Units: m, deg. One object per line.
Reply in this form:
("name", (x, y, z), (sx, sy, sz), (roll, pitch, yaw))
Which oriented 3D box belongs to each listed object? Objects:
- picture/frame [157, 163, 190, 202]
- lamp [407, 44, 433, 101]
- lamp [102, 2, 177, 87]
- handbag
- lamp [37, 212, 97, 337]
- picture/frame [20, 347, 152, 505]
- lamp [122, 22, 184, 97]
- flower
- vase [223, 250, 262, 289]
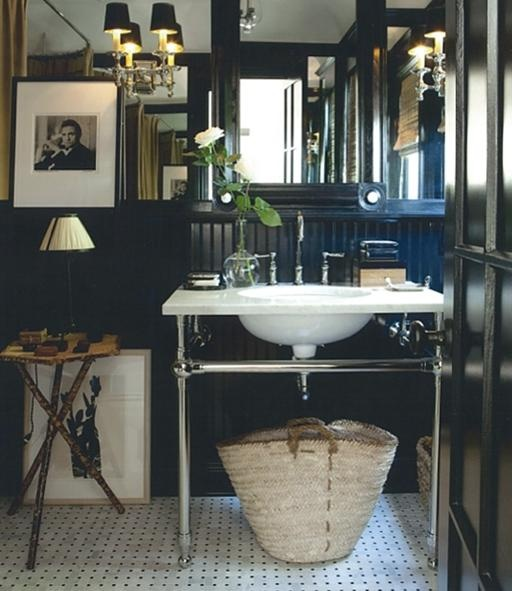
("picture/frame", (-0.301, -0.415, 2.503), (0.124, 0.217, 0.100), (1, 2, -1))
("lamp", (0.607, -0.839, 2.538), (0.082, 0.219, 0.083), (-8, 12, -40))
("lamp", (-0.392, -0.876, 2.513), (0.268, 0.366, 0.267), (-1, -5, -6))
("handbag", (0.160, 0.566, 2.198), (0.548, 0.505, 0.399), (-3, 14, -10))
("lamp", (-0.660, -0.070, 2.430), (0.190, 0.437, 0.336), (-2, 7, -17))
("picture/frame", (-0.619, 0.490, 2.474), (0.498, 0.722, 0.046), (0, 0, -1))
("lamp", (-0.396, -0.887, 2.559), (0.197, 0.306, 0.268), (-3, 16, -11))
("flower", (-0.072, -0.314, 2.438), (0.353, 0.554, 0.245), (-1, 7, -7))
("vase", (-0.052, -0.083, 2.362), (0.110, 0.182, 0.120), (0, -4, -3))
